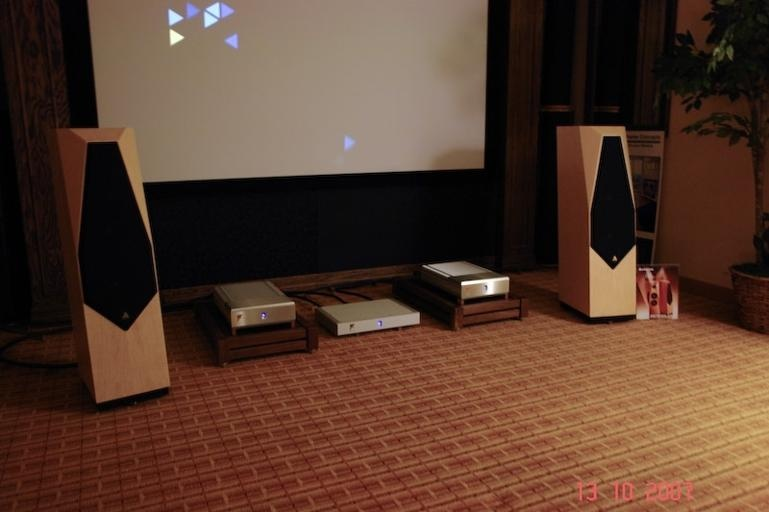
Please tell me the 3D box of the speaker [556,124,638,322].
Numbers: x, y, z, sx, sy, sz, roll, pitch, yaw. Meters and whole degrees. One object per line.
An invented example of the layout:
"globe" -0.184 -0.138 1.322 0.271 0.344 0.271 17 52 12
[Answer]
"speaker" 1.380 -0.217 3.573 0.442 1.198 0.507 -3 20 6
